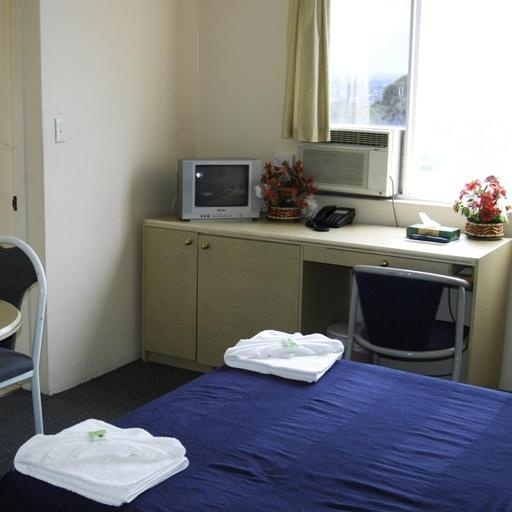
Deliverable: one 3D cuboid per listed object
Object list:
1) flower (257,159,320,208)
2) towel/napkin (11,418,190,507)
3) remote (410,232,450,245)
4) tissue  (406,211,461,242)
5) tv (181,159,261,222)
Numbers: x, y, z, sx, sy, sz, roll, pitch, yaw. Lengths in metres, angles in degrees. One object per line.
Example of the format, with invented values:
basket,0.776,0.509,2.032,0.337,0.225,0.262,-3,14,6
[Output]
flower,0.206,-0.466,3.022,0.321,0.347,0.313,-9,22,16
towel/napkin,-0.342,0.417,0.975,0.361,0.056,0.205,5,7,25
remote,0.926,-0.098,2.501,0.210,0.040,0.093,5,6,23
tissue ,0.970,-0.140,2.548,0.238,0.159,0.181,8,15,38
tv,-0.224,-0.417,2.914,0.621,0.492,0.332,0,7,-5
